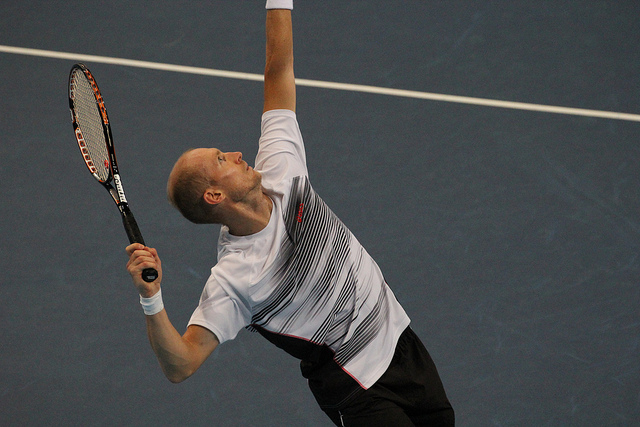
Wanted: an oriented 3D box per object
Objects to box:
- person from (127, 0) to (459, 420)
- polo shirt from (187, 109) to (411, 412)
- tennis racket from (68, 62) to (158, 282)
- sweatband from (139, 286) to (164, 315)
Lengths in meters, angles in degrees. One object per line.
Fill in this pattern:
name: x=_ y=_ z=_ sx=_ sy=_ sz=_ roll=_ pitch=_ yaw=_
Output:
person: x=-0.227 y=0.046 z=5.880 sx=2.301 sy=0.549 sz=1.405 roll=50 pitch=37 yaw=-17
polo shirt: x=-0.165 y=0.302 z=5.650 sx=1.200 sy=0.436 sz=1.357 roll=36 pitch=49 yaw=-5
tennis racket: x=-1.085 y=-0.310 z=5.354 sx=0.118 sy=0.343 sz=1.381 roll=-8 pitch=63 yaw=-37
sweatband: x=-0.813 y=0.433 z=5.107 sx=0.099 sy=0.094 sz=0.100 roll=-11 pitch=70 yaw=-18
